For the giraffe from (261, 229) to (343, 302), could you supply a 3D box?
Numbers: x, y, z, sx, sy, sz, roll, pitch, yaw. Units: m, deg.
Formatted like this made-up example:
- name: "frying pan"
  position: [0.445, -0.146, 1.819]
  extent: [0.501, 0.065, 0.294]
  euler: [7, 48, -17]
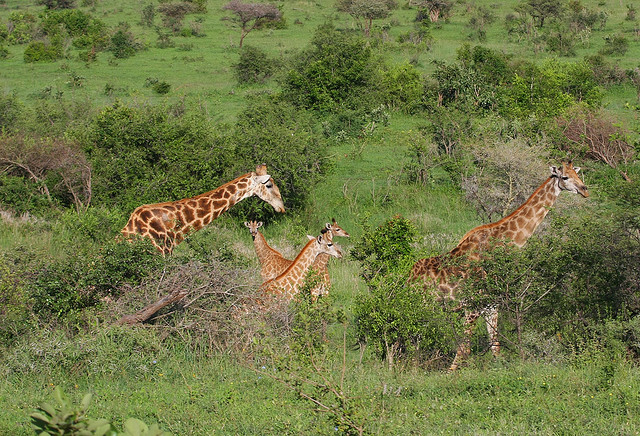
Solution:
- name: "giraffe"
  position: [-0.515, 1.375, 26.098]
  extent: [2.039, 2.009, 0.728]
  euler: [-1, 18, -17]
